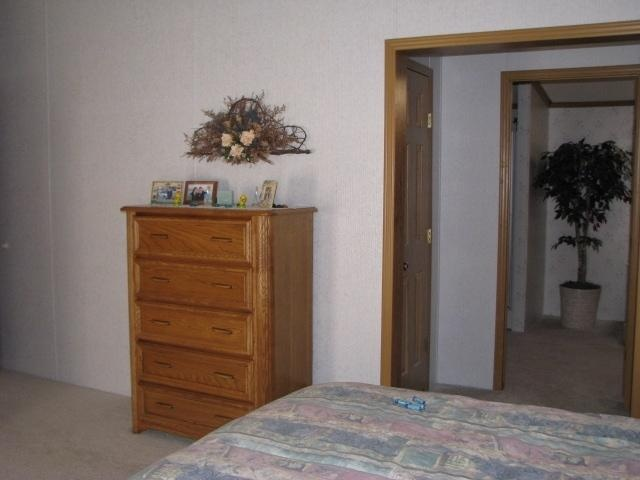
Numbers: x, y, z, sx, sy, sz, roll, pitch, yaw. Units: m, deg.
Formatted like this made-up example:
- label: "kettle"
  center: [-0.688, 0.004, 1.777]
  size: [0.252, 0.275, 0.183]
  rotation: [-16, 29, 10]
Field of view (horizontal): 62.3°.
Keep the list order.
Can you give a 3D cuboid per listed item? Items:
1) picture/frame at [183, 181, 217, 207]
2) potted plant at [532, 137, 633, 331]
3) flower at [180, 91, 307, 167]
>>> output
- label: "picture/frame"
  center: [-0.840, -0.326, 3.722]
  size: [0.183, 0.139, 0.019]
  rotation: [1, -15, 22]
- label: "potted plant"
  center: [3.196, -0.106, 6.572]
  size: [1.128, 2.262, 0.821]
  rotation: [1, 11, 4]
- label: "flower"
  center: [-0.565, -0.800, 3.816]
  size: [1.035, 0.495, 0.241]
  rotation: [6, 13, 30]
